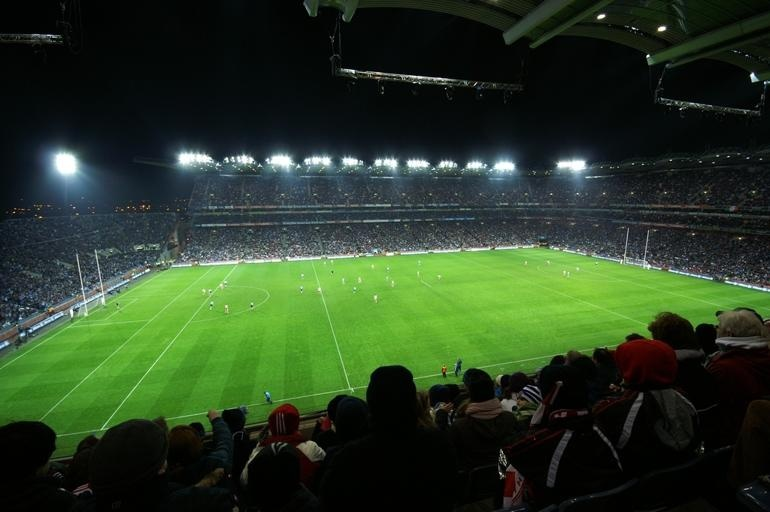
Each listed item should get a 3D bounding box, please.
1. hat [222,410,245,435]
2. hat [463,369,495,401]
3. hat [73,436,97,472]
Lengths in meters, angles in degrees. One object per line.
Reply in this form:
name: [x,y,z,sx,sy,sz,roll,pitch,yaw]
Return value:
hat: [-5.702,6.094,19.406,0.719,0.931,0.963,-3,22,-15]
hat: [3.367,4.581,18.604,0.932,0.661,1.280,-11,18,-2]
hat: [-11.196,7.352,19.155,0.871,1.018,1.128,4,-19,-24]
